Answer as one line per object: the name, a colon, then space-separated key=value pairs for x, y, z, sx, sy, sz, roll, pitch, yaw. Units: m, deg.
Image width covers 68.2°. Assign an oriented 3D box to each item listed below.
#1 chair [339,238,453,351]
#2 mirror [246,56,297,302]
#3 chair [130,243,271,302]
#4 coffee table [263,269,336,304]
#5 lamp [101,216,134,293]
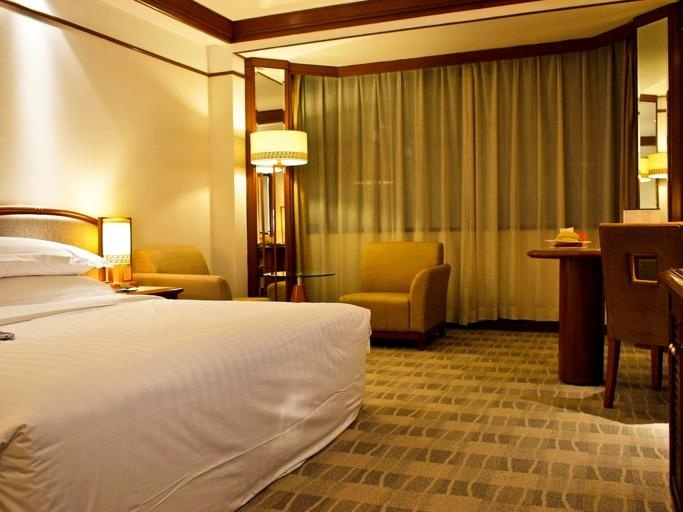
chair: x=0.483 y=0.397 z=5.133 sx=1.281 sy=1.122 sz=1.257 roll=0 pitch=-1 yaw=37
mirror: x=-0.797 y=-0.920 z=5.661 sx=0.517 sy=2.485 sz=0.113 roll=0 pitch=4 yaw=4
chair: x=-1.272 y=0.134 z=4.460 sx=0.726 sy=0.780 sz=0.734 roll=-1 pitch=-1 yaw=18
coffee table: x=-0.521 y=0.286 z=5.379 sx=0.475 sy=0.291 sz=0.481 roll=-1 pitch=-1 yaw=40
lamp: x=-1.770 y=-0.027 z=4.090 sx=0.267 sy=0.608 sz=0.208 roll=-5 pitch=13 yaw=0
